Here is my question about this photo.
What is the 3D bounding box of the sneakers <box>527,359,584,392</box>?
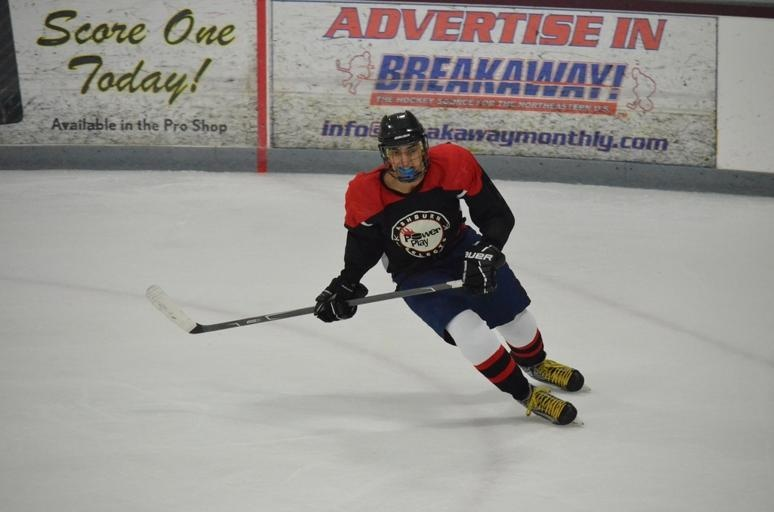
[{"bbox_3d":[0.863,0.594,4.316,0.357,0.104,0.139,12,-15,38],"label":"sneakers"}]

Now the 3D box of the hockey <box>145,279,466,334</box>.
[{"bbox_3d":[-0.447,0.285,4.528,1.406,0.165,0.096,-8,19,8],"label":"hockey"}]

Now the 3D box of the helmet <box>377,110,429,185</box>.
[{"bbox_3d":[0.107,-0.557,4.147,0.284,0.300,0.325,-9,20,17],"label":"helmet"}]

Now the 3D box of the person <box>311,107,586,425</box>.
[{"bbox_3d":[0.244,0.122,4.272,1.135,1.597,0.934,-22,7,23],"label":"person"}]

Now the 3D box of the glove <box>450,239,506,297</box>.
[{"bbox_3d":[0.468,0.054,4.013,0.230,0.219,0.106,2,-4,-6],"label":"glove"}]
